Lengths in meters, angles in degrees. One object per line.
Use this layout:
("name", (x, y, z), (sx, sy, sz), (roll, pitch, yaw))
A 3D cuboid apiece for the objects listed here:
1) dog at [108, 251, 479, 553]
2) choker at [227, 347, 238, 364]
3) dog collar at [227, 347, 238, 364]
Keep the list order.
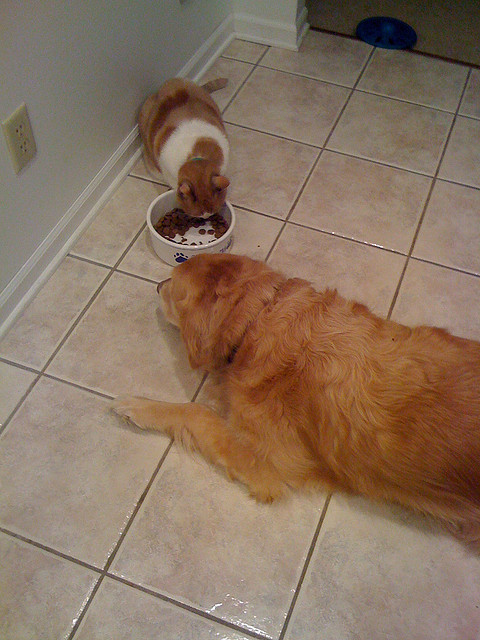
("dog", (0.069, 0.082, 1.670), (1.243, 0.559, 0.476), (22, 35, 23))
("choker", (-0.022, 0.097, 1.523), (0.009, 0.040, 0.039), (22, 74, -1))
("dog collar", (-0.022, 0.098, 1.524), (0.009, 0.040, 0.039), (22, 75, 0))
